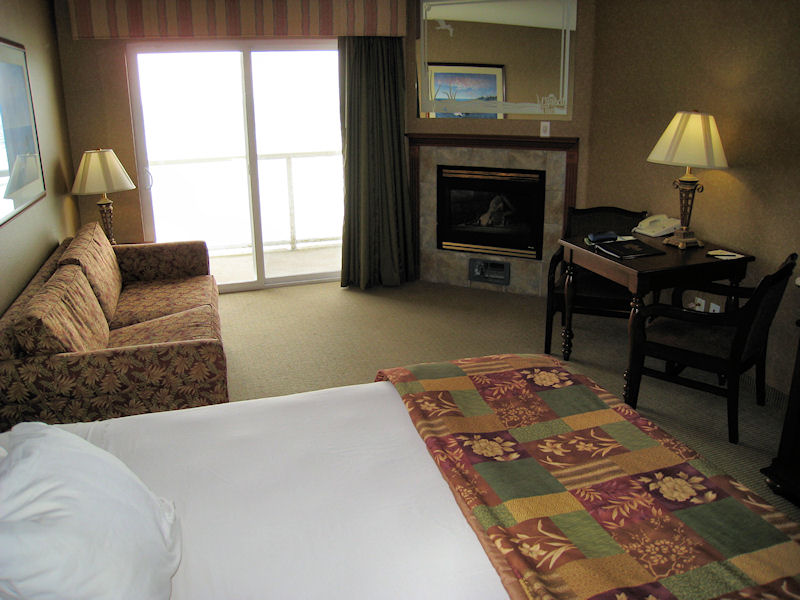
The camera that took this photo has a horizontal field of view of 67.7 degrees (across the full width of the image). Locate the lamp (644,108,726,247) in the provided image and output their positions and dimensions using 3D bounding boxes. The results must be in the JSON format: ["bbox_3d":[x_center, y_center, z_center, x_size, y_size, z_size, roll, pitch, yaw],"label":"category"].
[{"bbox_3d":[2.024,-0.847,4.131,0.610,0.873,0.475,-16,24,-36],"label":"lamp"}]

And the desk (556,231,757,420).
[{"bbox_3d":[1.738,0.078,4.201,0.995,0.875,0.992,-4,18,-5],"label":"desk"}]
